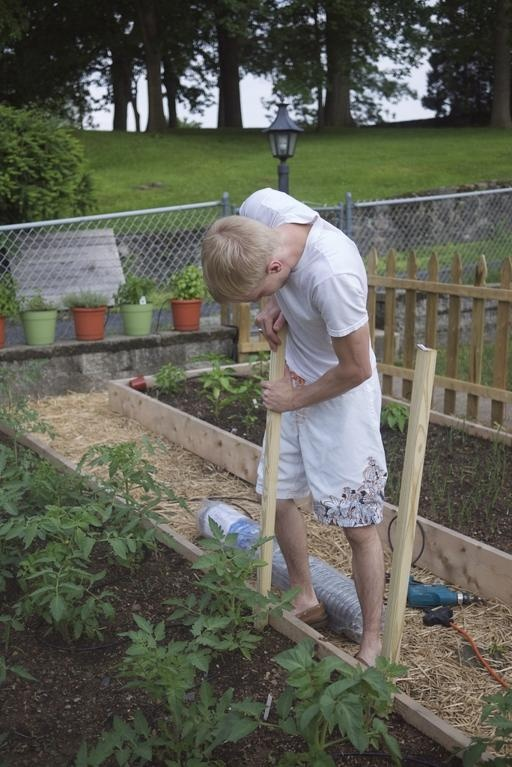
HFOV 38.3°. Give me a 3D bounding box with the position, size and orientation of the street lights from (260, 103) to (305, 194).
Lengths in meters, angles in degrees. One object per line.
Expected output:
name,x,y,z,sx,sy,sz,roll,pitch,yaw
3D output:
street lights,0.262,-2.110,6.836,0.366,1.011,0.343,1,17,7

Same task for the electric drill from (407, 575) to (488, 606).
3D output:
electric drill,0.749,0.809,2.851,0.293,0.068,0.295,2,2,9

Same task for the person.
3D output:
person,0.149,0.168,2.325,0.559,1.522,0.524,3,14,10

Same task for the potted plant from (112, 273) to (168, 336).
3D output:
potted plant,-1.029,-0.652,6.273,0.315,0.478,0.352,-2,14,-12

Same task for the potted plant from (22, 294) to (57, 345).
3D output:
potted plant,-1.703,-0.496,5.801,0.258,0.372,0.291,-3,14,-18

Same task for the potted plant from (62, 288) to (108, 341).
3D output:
potted plant,-1.381,-0.548,6.014,0.337,0.387,0.283,-2,14,-14

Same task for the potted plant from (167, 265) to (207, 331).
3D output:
potted plant,-0.600,-0.749,6.500,0.309,0.559,0.345,-1,13,-6
